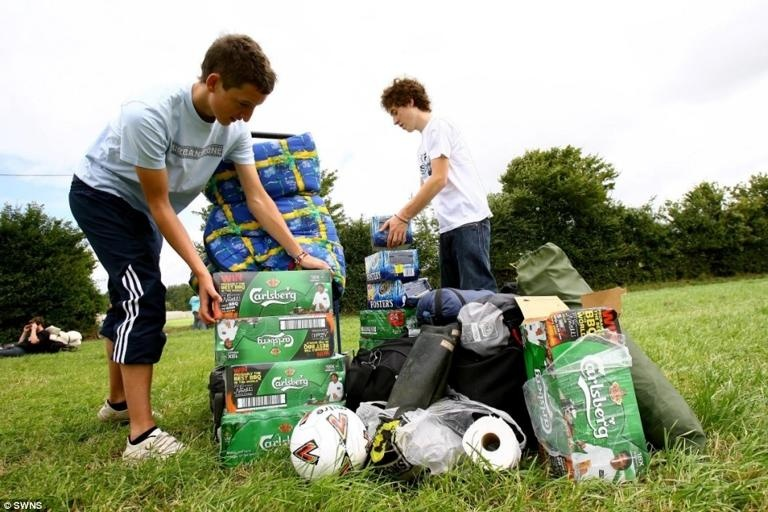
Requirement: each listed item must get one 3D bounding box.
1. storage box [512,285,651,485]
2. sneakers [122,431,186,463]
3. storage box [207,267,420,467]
[{"bbox_3d":[1.285,0.892,3.088,0.644,1.077,0.265,-12,-11,24],"label":"storage box"},{"bbox_3d":[-1.596,1.320,3.362,0.482,0.212,0.185,0,-7,-8],"label":"sneakers"},{"bbox_3d":[-0.869,0.795,4.029,1.331,1.361,0.966,-1,-2,-13],"label":"storage box"}]
